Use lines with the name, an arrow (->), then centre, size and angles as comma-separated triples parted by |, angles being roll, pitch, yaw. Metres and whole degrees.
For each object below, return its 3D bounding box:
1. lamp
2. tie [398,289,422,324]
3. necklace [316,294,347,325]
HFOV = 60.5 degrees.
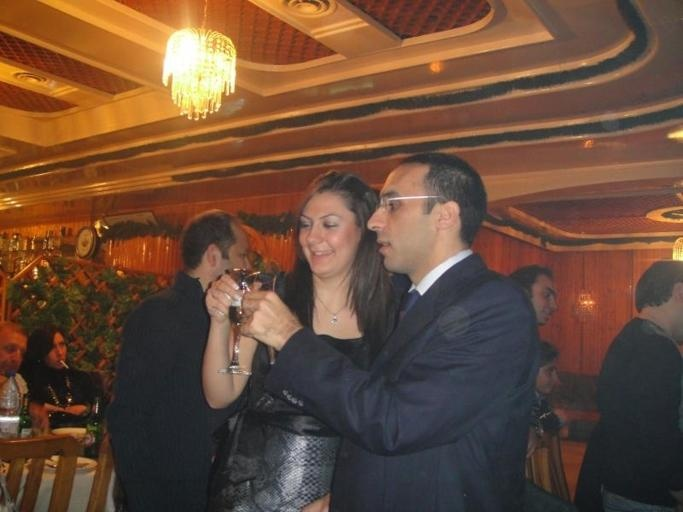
lamp -> -1.112, -1.371, 4.609 | 0.591, 0.750, 1.053 | 0, -12, -11
tie -> 0.303, 0.217, 2.655 | 0.050, 0.138, 0.102 | 36, -3, 17
necklace -> -0.051, 0.253, 2.899 | 0.027, 0.109, 0.111 | -17, 12, 23
